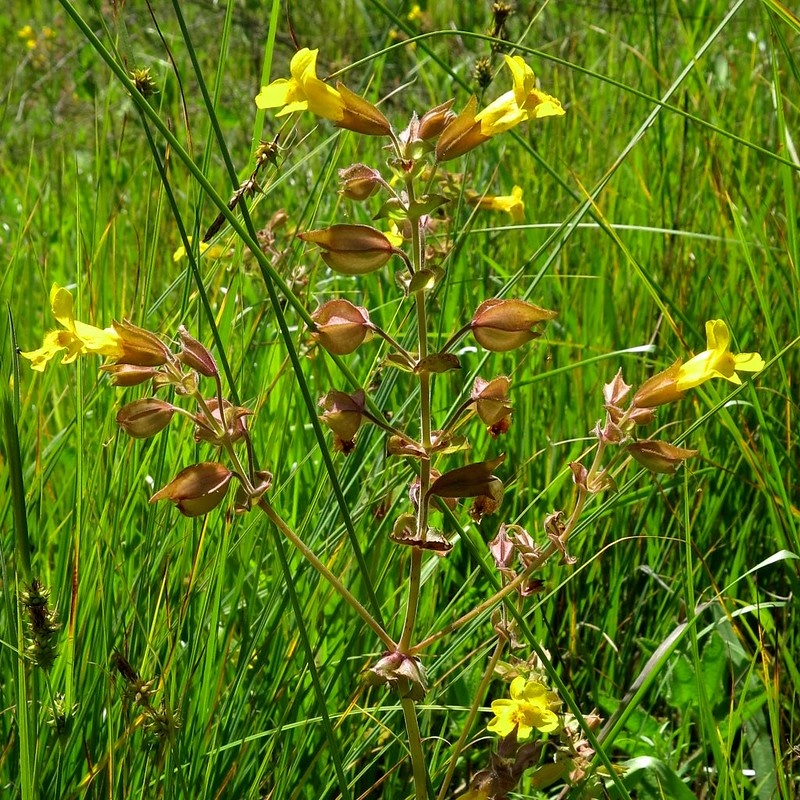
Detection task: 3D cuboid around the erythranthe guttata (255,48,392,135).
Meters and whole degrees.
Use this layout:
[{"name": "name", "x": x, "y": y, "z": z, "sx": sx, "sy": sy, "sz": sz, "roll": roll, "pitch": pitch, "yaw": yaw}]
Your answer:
[{"name": "erythranthe guttata", "x": -0.087, "y": -0.368, "z": 1.354, "sx": 0.141, "sy": 0.122, "sz": 0.097, "roll": 17, "pitch": 5, "yaw": 1}]

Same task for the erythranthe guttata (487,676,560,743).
[{"name": "erythranthe guttata", "x": 0.158, "y": 0.393, "z": 1.430, "sx": 0.081, "sy": 0.098, "sz": 0.043, "roll": -32, "pitch": -2, "yaw": 12}]

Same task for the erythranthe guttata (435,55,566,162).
[{"name": "erythranthe guttata", "x": 0.120, "y": -0.348, "z": 1.395, "sx": 0.140, "sy": 0.149, "sz": 0.067, "roll": -23, "pitch": -2, "yaw": -19}]

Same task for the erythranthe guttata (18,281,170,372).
[{"name": "erythranthe guttata", "x": -0.383, "y": -0.071, "z": 1.396, "sx": 0.164, "sy": 0.124, "sz": 0.104, "roll": 13, "pitch": 23, "yaw": -1}]
